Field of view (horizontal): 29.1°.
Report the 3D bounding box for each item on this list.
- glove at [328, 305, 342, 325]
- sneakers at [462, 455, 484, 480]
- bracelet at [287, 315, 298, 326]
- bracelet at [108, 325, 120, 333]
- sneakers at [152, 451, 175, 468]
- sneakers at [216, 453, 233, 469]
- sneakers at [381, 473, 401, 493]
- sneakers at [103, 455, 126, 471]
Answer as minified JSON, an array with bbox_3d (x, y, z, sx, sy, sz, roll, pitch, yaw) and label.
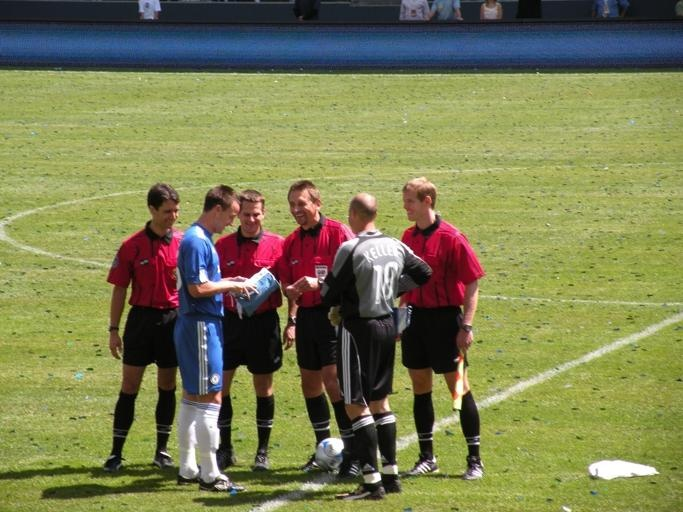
[{"bbox_3d":[-0.103,0.947,20.705,0.244,0.265,0.091,-26,12,-5],"label":"glove"},{"bbox_3d":[2.105,3.381,20.890,0.316,0.354,0.216,3,8,5],"label":"sneakers"},{"bbox_3d":[-0.795,1.070,21.511,0.137,0.145,0.082,-1,-4,-6],"label":"bracelet"},{"bbox_3d":[-3.644,1.186,21.233,0.153,0.070,0.141,8,-15,-26],"label":"bracelet"},{"bbox_3d":[-2.851,3.301,21.195,0.181,0.163,0.428,0,1,-43],"label":"sneakers"},{"bbox_3d":[-1.883,3.331,21.261,0.345,0.251,0.172,1,4,2],"label":"sneakers"},{"bbox_3d":[0.782,3.563,20.513,0.211,0.225,0.369,0,9,-8],"label":"sneakers"},{"bbox_3d":[-3.621,3.326,21.082,0.340,0.257,0.235,-1,8,-25],"label":"sneakers"}]
